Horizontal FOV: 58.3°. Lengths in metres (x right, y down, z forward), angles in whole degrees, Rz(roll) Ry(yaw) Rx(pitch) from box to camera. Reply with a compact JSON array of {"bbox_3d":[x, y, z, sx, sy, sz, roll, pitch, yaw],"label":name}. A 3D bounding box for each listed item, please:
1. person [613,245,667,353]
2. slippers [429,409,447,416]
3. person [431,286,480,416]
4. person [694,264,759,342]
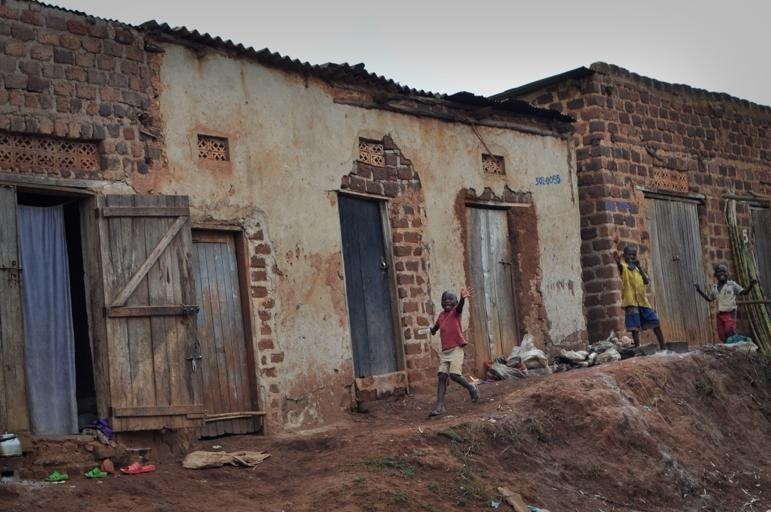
[{"bbox_3d":[5.061,0.865,13.796,0.741,2.112,0.448,-2,-7,4],"label":"person"},{"bbox_3d":[0.849,2.560,11.066,0.096,0.106,0.269,-17,-17,38],"label":"slippers"},{"bbox_3d":[1.106,1.607,11.230,0.764,2.040,0.995,-2,-7,7],"label":"person"},{"bbox_3d":[7.045,1.012,14.247,0.618,1.637,1.171,-5,-8,26],"label":"person"}]
